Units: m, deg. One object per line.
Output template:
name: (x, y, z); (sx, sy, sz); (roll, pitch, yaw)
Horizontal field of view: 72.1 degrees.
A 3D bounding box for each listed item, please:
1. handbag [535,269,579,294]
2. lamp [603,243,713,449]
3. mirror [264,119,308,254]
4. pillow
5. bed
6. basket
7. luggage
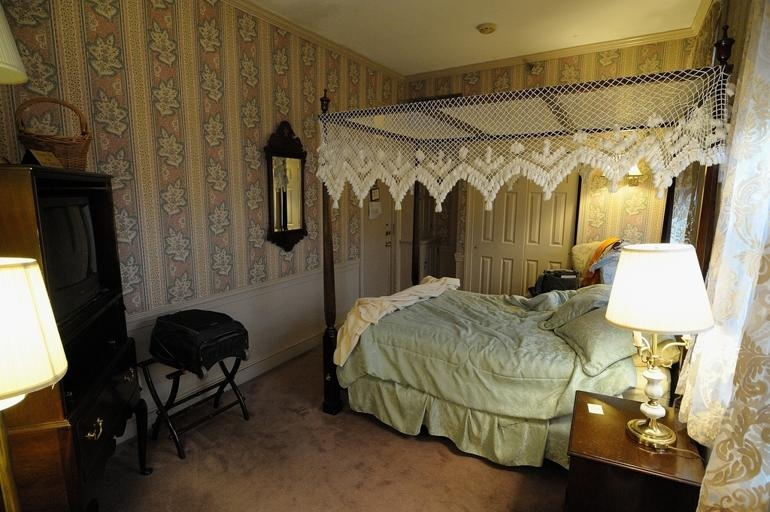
handbag: (1.774, 0.265, 5.457); (0.347, 0.275, 0.374); (0, -5, -13)
lamp: (1.623, 0.481, 3.081); (0.516, 1.133, 0.646); (7, 12, 38)
mirror: (-0.957, -0.680, 5.170); (0.122, 1.253, 0.528); (5, 11, 30)
pillow: (1.549, 0.625, 3.936); (0.159, 0.568, 0.664); (36, -7, 5)
bed: (0.865, 0.859, 4.114); (1.579, 0.717, 1.621); (5, 9, 28)
basket: (-2.168, -0.816, 3.492); (0.373, 0.489, 0.389); (0, -4, 16)
luggage: (-1.430, 0.644, 4.058); (0.566, 0.390, 0.462); (4, 10, 28)
